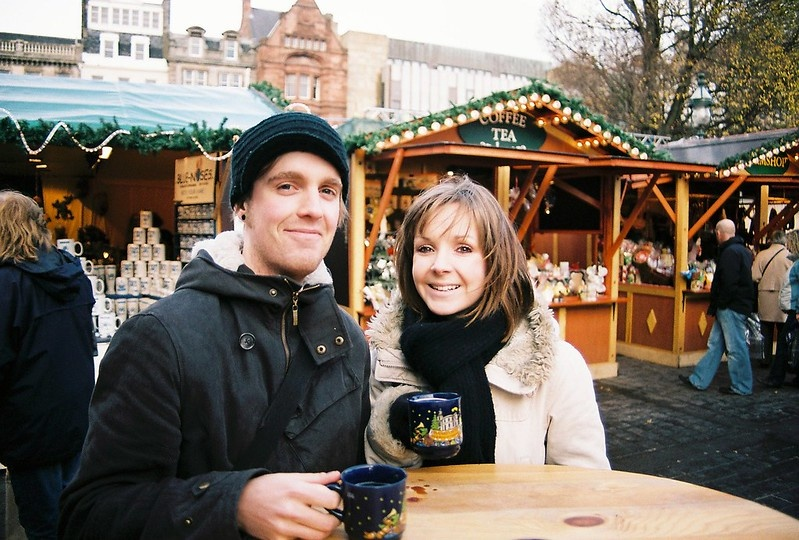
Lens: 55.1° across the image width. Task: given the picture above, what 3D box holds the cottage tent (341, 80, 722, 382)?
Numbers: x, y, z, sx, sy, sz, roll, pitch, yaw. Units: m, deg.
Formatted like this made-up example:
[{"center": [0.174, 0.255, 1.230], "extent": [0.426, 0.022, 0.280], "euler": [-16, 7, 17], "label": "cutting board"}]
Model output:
[{"center": [1.036, -1.296, 12.978], "extent": [4.682, 3.657, 3.722], "euler": [-1, 17, -21], "label": "cottage tent"}]

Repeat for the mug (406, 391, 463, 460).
[{"center": [0.278, 1.189, 5.931], "extent": [0.408, 0.462, 0.419], "euler": [-4, 0, -17], "label": "mug"}]

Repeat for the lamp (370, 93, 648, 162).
[{"center": [1.687, -2.043, 10.761], "extent": [4.144, 1.172, 1.025], "euler": [-4, 11, -23], "label": "lamp"}]

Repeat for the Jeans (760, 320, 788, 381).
[{"center": [6.078, 1.234, 12.414], "extent": [0.399, 1.133, 1.489], "euler": [5, 11, 25], "label": "Jeans"}]

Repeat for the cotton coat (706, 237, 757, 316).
[{"center": [4.952, 0.115, 11.338], "extent": [0.615, 1.196, 0.419], "euler": [4, 10, 23], "label": "cotton coat"}]

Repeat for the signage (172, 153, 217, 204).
[{"center": [-2.846, -1.253, 10.524], "extent": [0.091, 0.660, 0.956], "euler": [13, 14, 19], "label": "signage"}]

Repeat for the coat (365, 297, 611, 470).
[{"center": [0.923, 1.037, 6.615], "extent": [1.789, 1.764, 0.965], "euler": [4, 14, 34], "label": "coat"}]
